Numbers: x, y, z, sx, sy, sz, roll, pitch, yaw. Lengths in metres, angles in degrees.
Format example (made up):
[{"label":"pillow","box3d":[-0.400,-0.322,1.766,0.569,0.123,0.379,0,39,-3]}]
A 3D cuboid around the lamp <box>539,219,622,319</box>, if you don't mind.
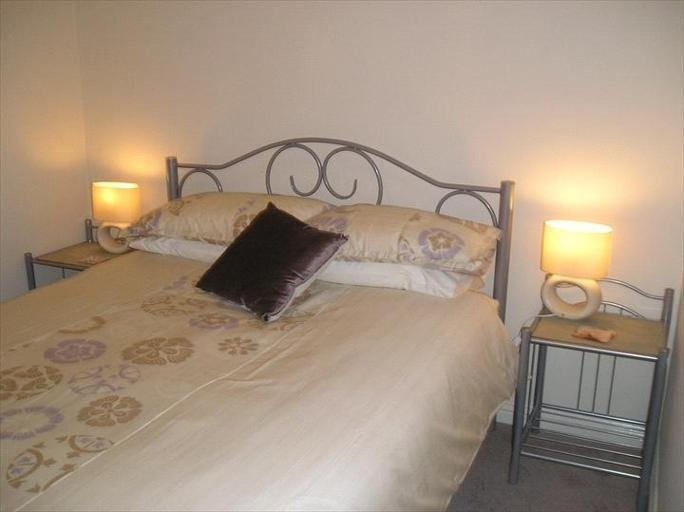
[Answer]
[{"label":"lamp","box3d":[1.027,0.076,2.294,0.270,0.406,0.280,-5,13,-39]}]
